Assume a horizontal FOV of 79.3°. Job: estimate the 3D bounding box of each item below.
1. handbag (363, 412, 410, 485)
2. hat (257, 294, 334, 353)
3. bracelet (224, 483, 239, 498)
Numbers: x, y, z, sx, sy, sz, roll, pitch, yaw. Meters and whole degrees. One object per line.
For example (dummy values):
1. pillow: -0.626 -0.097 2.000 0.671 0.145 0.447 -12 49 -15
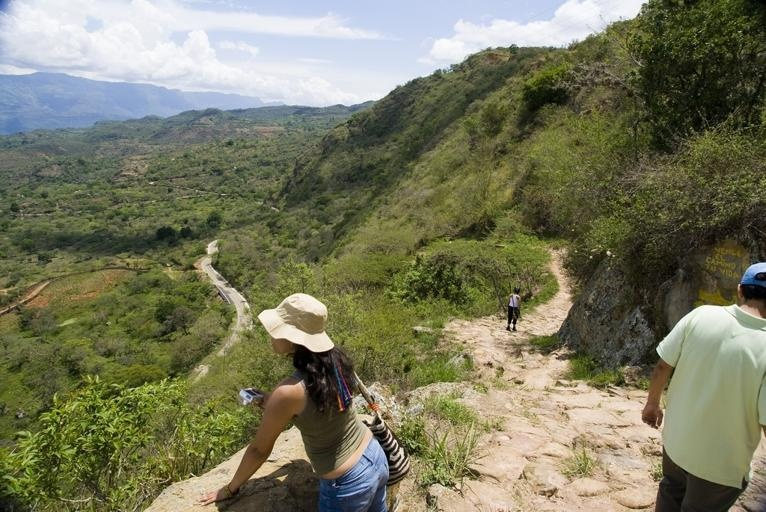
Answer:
1. handbag: 0.032 2.159 5.315 0.459 0.767 0.297 -27 -4 -26
2. hat: -0.847 0.710 4.824 0.668 0.332 0.617 21 10 5
3. bracelet: -1.598 2.554 5.018 0.078 0.095 0.215 -32 32 -33
